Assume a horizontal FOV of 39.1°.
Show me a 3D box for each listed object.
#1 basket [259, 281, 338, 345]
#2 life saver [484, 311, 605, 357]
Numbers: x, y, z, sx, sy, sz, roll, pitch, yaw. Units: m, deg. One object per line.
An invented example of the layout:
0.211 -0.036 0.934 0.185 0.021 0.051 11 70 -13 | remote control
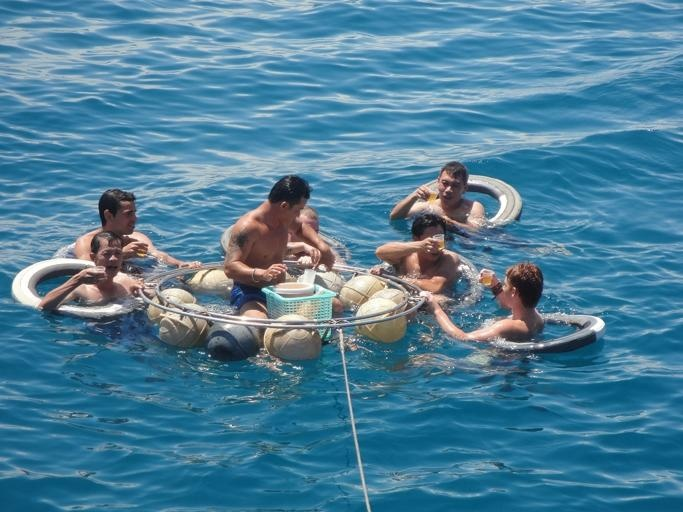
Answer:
-0.623 0.718 14.016 1.029 0.504 0.756 1 22 -1 | basket
3.189 1.147 14.211 1.015 0.324 1.560 18 25 38 | life saver
